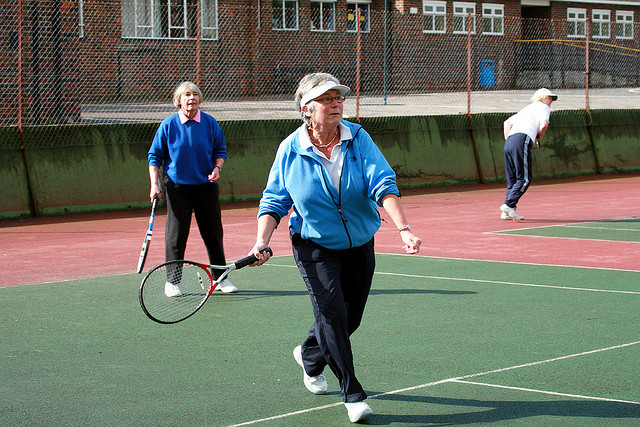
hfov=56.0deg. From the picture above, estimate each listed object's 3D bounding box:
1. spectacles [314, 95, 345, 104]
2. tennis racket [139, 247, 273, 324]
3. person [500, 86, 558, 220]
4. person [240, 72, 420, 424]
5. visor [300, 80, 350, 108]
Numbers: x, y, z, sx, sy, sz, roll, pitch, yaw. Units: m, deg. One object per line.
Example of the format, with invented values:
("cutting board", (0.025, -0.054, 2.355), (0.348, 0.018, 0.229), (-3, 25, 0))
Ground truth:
("spectacles", (0.087, -0.800, 4.199), (0.254, 0.062, 0.103), (-6, 11, -32))
("tennis racket", (-0.961, 0.561, 5.412), (1.375, 0.534, 0.104), (-19, -3, -40))
("person", (4.009, -1.200, 12.116), (0.733, 2.572, 1.368), (8, 12, 42))
("person", (0.072, 0.215, 4.240), (1.083, 2.367, 0.632), (2, 9, 16))
("visor", (0.044, -0.891, 4.252), (0.377, 0.122, 0.249), (-9, 15, 37))
